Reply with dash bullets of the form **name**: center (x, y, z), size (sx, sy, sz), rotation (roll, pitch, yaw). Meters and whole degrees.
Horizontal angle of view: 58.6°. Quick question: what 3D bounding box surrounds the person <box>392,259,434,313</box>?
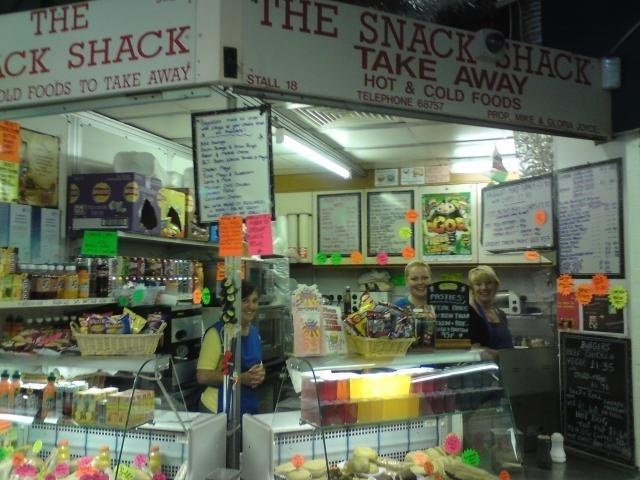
- **person**: center (0.688, 0.332, 4.188), size (0.238, 0.349, 1.142), rotation (-1, -1, 10)

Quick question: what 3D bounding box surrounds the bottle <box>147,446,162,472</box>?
- **bottle**: center (-0.864, 1.158, 3.003), size (0.070, 0.135, 0.030), rotation (0, -2, -17)

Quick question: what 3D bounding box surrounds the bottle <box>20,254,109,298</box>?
- **bottle**: center (-1.695, 0.264, 3.847), size (0.093, 0.276, 0.622), rotation (-2, -2, 31)

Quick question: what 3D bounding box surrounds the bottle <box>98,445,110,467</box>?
- **bottle**: center (-1.144, 1.156, 3.038), size (0.070, 0.116, 0.056), rotation (-1, -2, -7)

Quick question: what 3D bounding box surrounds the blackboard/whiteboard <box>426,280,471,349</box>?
- **blackboard/whiteboard**: center (0.782, 0.448, 3.446), size (0.243, 0.389, 0.162), rotation (-1, -2, 2)

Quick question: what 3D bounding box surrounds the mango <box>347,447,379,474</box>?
- **mango**: center (0.225, 1.174, 3.023), size (0.156, 0.116, 0.075), rotation (-1, -2, 3)
